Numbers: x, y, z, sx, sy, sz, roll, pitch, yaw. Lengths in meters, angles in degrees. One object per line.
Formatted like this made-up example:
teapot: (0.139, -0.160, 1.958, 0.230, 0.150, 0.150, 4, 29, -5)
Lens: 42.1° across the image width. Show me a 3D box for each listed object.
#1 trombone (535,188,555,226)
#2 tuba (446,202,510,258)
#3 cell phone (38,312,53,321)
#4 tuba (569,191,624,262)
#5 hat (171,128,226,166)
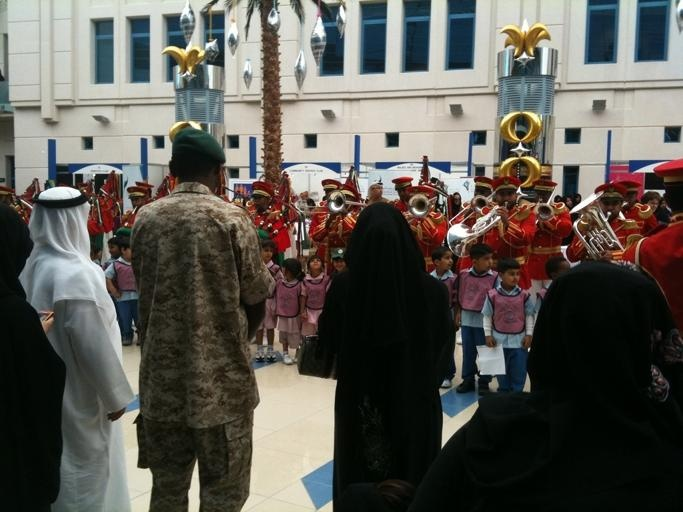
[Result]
trombone: (2.436, -0.579, 10.588, 0.128, 0.399, 0.384, 10, 32, 16)
tuba: (1.495, -0.282, 10.009, 0.721, 0.436, 0.729, -29, -10, 23)
cell phone: (-1.944, 0.383, 5.818, 0.058, 0.022, 0.063, 13, 17, 18)
tuba: (2.646, -0.290, 9.112, 0.364, 0.838, 0.425, -7, -34, -41)
hat: (-0.978, -0.734, 6.001, 0.349, 0.250, 0.204, -4, 14, -12)
